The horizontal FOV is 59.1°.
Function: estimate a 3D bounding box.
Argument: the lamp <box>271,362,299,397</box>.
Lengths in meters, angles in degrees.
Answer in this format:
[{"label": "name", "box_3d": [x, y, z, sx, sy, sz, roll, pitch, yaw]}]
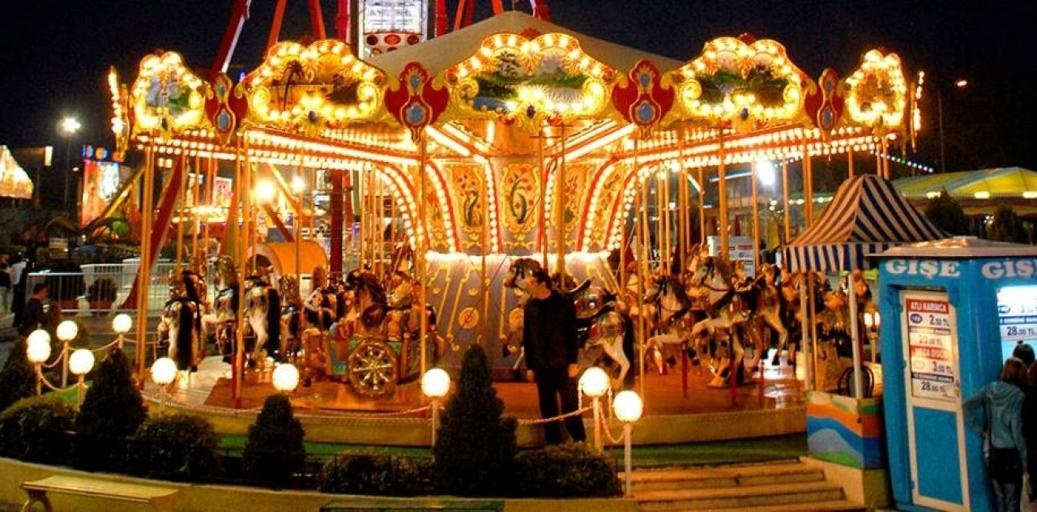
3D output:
[{"label": "lamp", "box_3d": [-4.685, 2.470, 18.352, 0.420, 0.599, 0.520, 1, -5, -6]}]

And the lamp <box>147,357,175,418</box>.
[{"label": "lamp", "box_3d": [-7.494, 2.699, 19.383, 0.560, 1.164, 2.786, 3, -5, -21]}]

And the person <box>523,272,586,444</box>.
[{"label": "person", "box_3d": [0.634, 1.728, 17.954, 1.089, 2.877, 0.420, 1, -6, 3]}]
